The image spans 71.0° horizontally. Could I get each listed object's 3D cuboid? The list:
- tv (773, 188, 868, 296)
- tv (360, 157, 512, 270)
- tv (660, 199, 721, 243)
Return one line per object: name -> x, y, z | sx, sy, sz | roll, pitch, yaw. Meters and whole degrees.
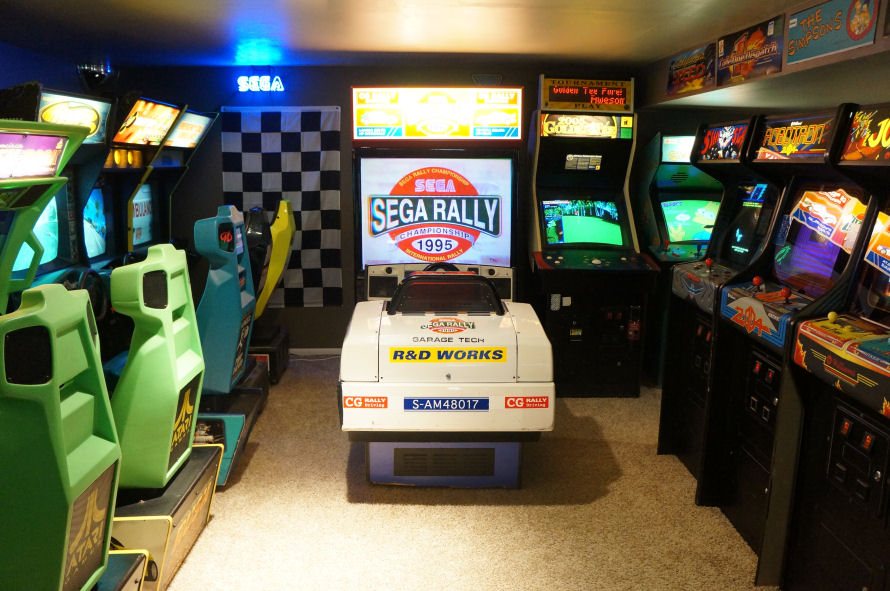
tv -> 2.027, -0.306, 3.430 | 0.239, 0.569, 0.437 | 1, 12, -4
tv -> -0.113, -0.739, 5.357 | 1.072, 0.712, 0.138 | 0, 4, -2
tv -> 2.174, -0.655, 5.604 | 0.588, 0.367, 0.025 | 1, -2, -12
